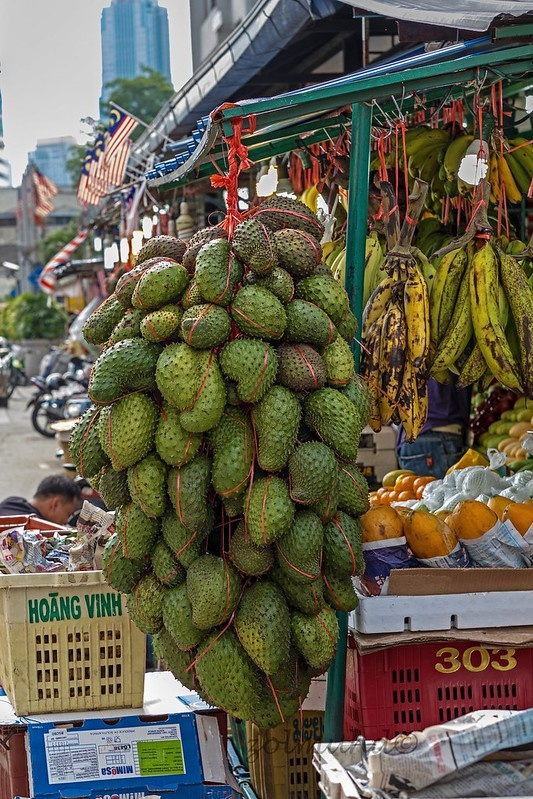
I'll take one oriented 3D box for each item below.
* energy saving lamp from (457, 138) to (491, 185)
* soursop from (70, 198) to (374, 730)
[{"bbox_3d":[0.626,-0.720,3.095,0.088,0.143,0.154,-2,9,11],"label":"energy saving lamp"},{"bbox_3d":[-0.119,0.174,2.672,0.782,1.380,0.439,-3,8,5],"label":"soursop"}]
